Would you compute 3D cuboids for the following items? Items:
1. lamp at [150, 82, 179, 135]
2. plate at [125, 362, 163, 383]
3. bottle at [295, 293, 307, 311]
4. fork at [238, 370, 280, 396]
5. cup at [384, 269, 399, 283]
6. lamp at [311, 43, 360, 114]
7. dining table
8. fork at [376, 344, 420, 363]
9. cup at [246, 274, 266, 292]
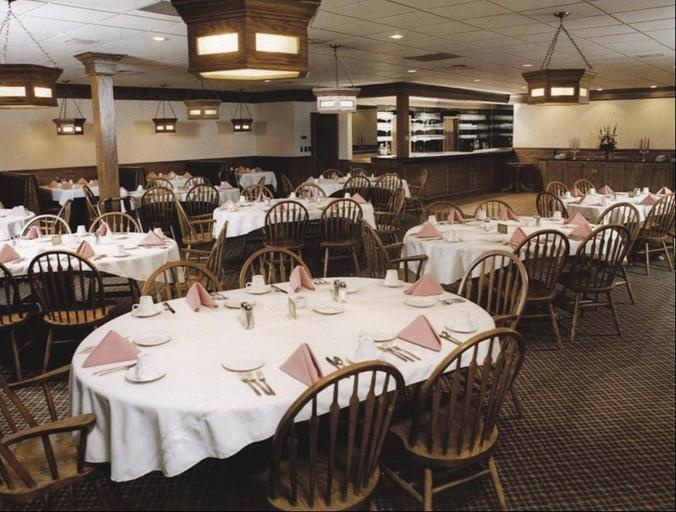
[{"bbox_3d":[-4.301,-3.592,12.398,0.610,1.150,1.543,-6,10,-18],"label":"lamp"},{"bbox_3d":[-0.868,0.540,2.260,0.106,0.038,0.106,1,2,25],"label":"plate"},{"bbox_3d":[-0.220,0.277,3.032,0.067,0.071,0.083,0,-2,-2],"label":"bottle"},{"bbox_3d":[-0.354,0.563,2.210,0.071,0.028,0.191,-5,12,-22],"label":"fork"},{"bbox_3d":[0.369,0.139,3.397,0.086,0.081,0.084,2,4,0],"label":"cup"},{"bbox_3d":[-0.056,-2.930,8.624,0.942,1.275,0.920,-2,9,-4],"label":"lamp"},{"bbox_3d":[-0.248,0.291,2.482,1.750,0.349,1.238,-9,16,-32],"label":"dining table"},{"bbox_3d":[0.305,0.485,2.474,0.071,0.023,0.190,-9,14,-33],"label":"fork"},{"bbox_3d":[-0.574,0.181,3.369,0.143,0.132,0.095,-3,10,7],"label":"cup"}]
